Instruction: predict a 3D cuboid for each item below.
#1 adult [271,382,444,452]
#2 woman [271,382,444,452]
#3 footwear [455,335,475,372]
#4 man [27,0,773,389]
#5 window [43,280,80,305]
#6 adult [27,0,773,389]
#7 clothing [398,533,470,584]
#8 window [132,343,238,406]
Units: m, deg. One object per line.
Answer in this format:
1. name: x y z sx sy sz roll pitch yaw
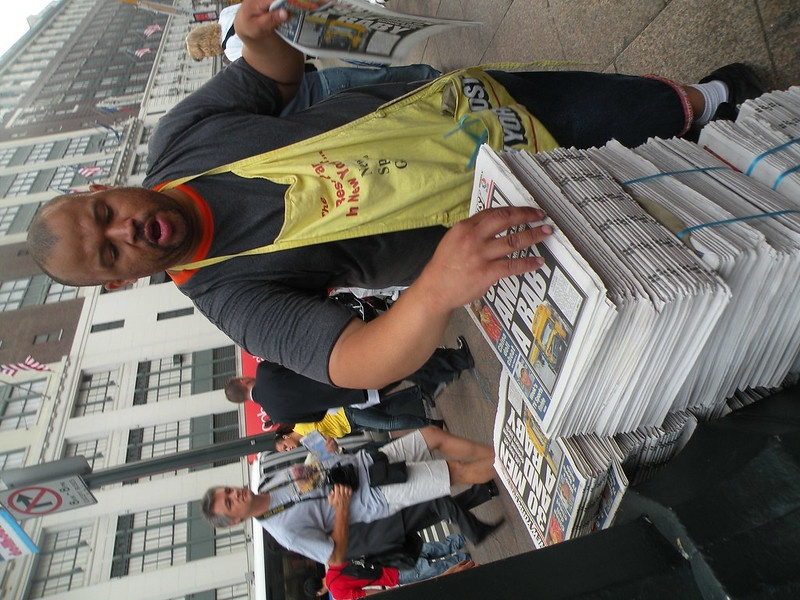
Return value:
1. adult: -0.346 0.906 3.714 1.238 0.349 0.388 -15 50 6
2. woman: -0.359 0.903 3.738 1.252 0.340 0.355 -17 69 8
3. footwear: 0.464 0.377 3.612 0.105 0.088 0.255 -1 64 -38
4. man: -0.138 -0.256 1.986 2.205 1.008 1.289 -12 77 18
5. window: -7.635 -0.103 11.306 0.499 0.360 0.484 -11 60 -51
6. adult: -0.144 -0.281 1.990 2.205 1.008 1.289 -12 77 18
7. clothing: 0.174 1.730 3.395 0.108 0.384 0.154 -23 39 11
8. window: -4.798 1.729 11.613 1.892 1.889 0.197 -9 52 -23
